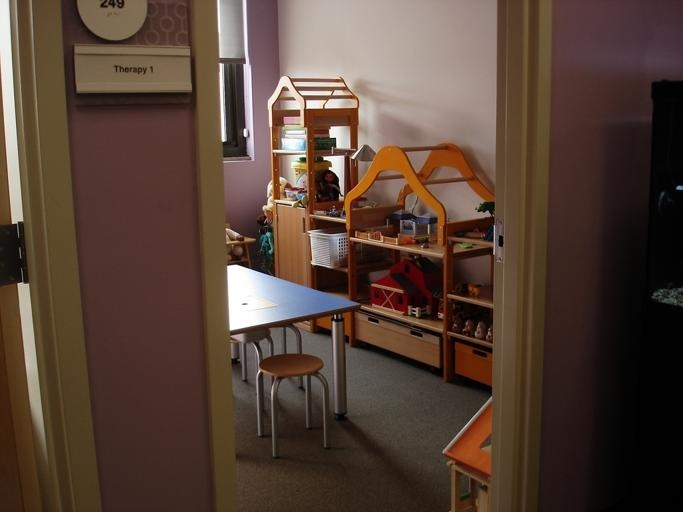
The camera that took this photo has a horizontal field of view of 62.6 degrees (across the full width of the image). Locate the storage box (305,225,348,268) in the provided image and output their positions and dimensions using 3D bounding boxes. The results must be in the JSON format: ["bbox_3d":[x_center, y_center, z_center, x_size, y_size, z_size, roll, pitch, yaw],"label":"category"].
[{"bbox_3d":[-0.100,-0.093,4.887,0.323,0.299,0.423,5,9,28],"label":"storage box"}]

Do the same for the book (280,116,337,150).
[{"bbox_3d":[-0.306,-1.082,4.999,0.383,0.294,0.566,-6,13,-22],"label":"book"}]

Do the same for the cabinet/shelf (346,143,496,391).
[{"bbox_3d":[0.688,-0.014,4.248,0.608,1.626,1.435,-11,15,-42],"label":"cabinet/shelf"}]

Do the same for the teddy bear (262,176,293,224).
[{"bbox_3d":[-0.617,-0.529,5.387,0.234,0.461,0.346,6,-23,-10],"label":"teddy bear"}]
